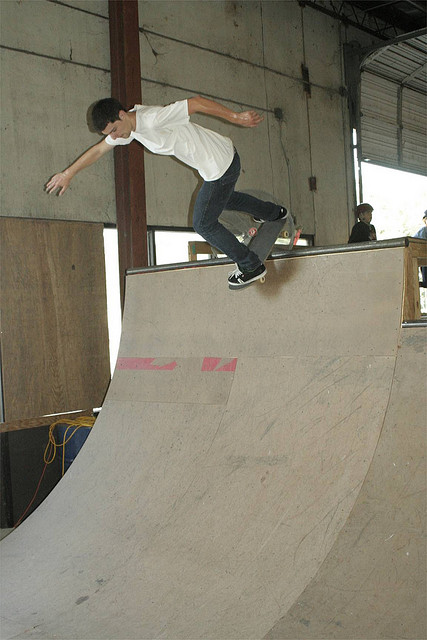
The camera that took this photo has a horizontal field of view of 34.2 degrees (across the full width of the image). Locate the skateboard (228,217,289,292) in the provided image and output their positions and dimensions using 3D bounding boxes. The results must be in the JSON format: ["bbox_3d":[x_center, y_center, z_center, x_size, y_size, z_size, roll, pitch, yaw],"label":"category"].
[{"bbox_3d":[0.249,-0.335,4.110,0.251,0.512,0.270,-1,16,-27],"label":"skateboard"}]

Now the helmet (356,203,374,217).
[{"bbox_3d":[1.781,-1.303,8.215,0.179,0.164,0.150,1,1,24],"label":"helmet"}]
